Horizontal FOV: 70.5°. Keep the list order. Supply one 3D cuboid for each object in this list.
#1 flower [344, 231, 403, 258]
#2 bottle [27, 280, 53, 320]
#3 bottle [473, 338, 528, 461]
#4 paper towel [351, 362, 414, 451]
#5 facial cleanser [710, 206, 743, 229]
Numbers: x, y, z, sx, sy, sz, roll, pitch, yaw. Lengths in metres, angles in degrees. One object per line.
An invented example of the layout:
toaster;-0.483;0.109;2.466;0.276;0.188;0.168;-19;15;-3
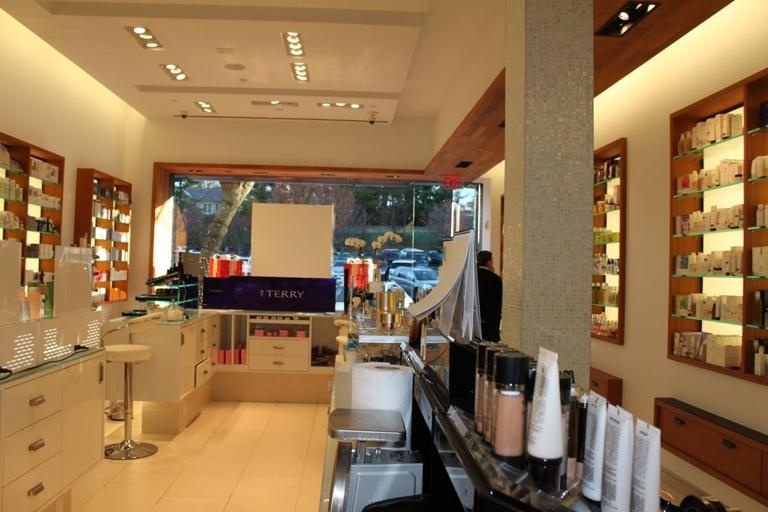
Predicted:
flower;-0.160;-0.228;8.610;0.919;0.382;0.098;1;5;-7
bottle;-2.432;0.306;3.863;0.150;0.239;0.200;-1;6;-32
bottle;0.501;0.627;2.342;0.107;0.389;0.305;4;4;-1
paper towel;-0.001;0.789;2.998;0.413;0.465;0.414;-3;-7;26
facial cleanser;2.844;-0.318;4.514;0.068;0.204;0.289;1;5;-8
